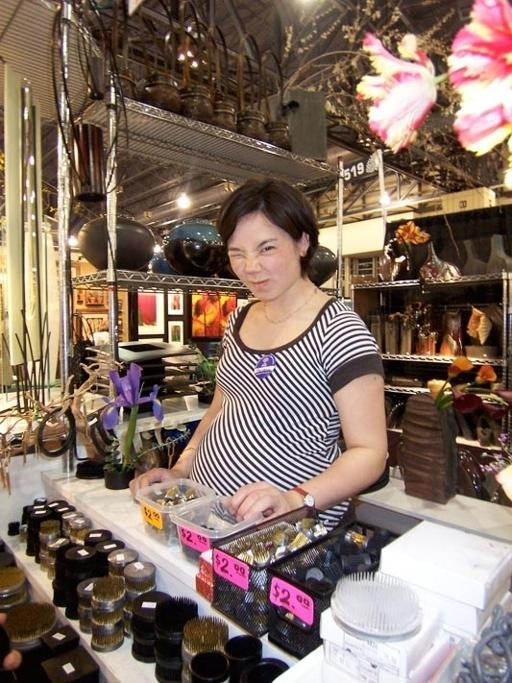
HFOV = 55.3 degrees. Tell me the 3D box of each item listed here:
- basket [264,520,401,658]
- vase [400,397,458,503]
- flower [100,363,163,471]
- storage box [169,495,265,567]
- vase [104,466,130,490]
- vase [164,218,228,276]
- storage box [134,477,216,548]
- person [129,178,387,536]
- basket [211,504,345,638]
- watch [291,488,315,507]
[{"bbox_3d":[0.120,0.317,0.759,0.148,0.130,0.272,4,9,40],"label":"basket"},{"bbox_3d":[0.504,0.305,1.456,0.164,0.305,0.182,-2,3,22],"label":"vase"},{"bbox_3d":[-0.379,0.267,1.535,0.185,0.318,0.174,7,-19,-17],"label":"flower"},{"bbox_3d":[-0.089,0.368,1.012,0.119,0.079,0.158,-2,-2,37],"label":"storage box"},{"bbox_3d":[-0.442,0.426,1.560,0.073,0.051,0.073,0,-7,21],"label":"vase"},{"bbox_3d":[-0.278,-0.416,2.238,0.306,0.262,0.297,2,2,2],"label":"vase"},{"bbox_3d":[-0.184,0.420,1.174,0.178,0.087,0.136,14,-5,-38],"label":"storage box"},{"bbox_3d":[0.042,-0.009,1.254,0.388,0.807,0.606,-4,3,-19],"label":"person"},{"bbox_3d":[0.040,0.346,0.830,0.283,0.126,0.149,-13,22,-39],"label":"basket"},{"bbox_3d":[0.099,0.325,1.037,0.028,0.039,0.042,-19,25,-35],"label":"watch"}]
